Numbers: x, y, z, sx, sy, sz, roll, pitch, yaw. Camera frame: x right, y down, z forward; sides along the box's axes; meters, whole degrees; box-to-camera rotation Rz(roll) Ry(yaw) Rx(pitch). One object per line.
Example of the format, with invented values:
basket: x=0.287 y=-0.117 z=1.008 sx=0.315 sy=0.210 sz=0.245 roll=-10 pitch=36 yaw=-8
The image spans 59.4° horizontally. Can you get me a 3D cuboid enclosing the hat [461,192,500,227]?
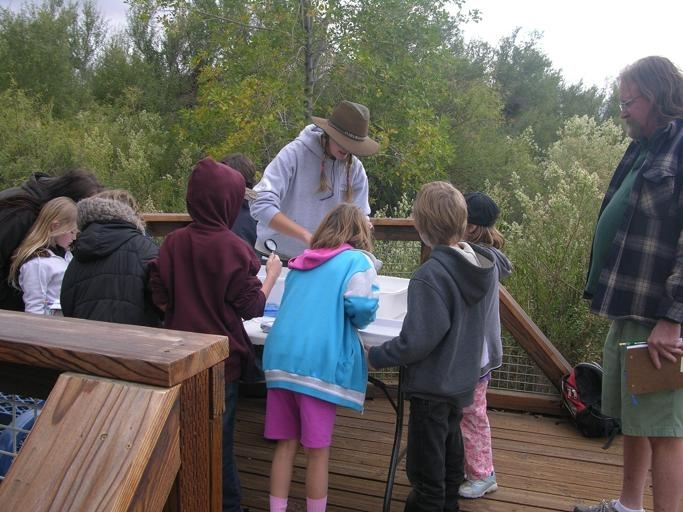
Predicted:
hat: x=0.779 y=-0.255 z=3.317 sx=0.138 sy=0.130 sz=0.208 roll=23 pitch=5 yaw=2

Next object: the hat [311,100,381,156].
hat: x=0.046 y=-0.755 z=3.539 sx=0.342 sy=0.185 sz=0.329 roll=47 pitch=34 yaw=19

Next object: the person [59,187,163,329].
person: x=-1.188 y=0.127 z=3.196 sx=0.428 sy=1.078 sz=0.359 roll=9 pitch=28 yaw=-6

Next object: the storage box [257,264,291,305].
storage box: x=-0.385 y=0.183 z=3.574 sx=0.253 sy=0.226 sz=0.192 roll=3 pitch=4 yaw=9

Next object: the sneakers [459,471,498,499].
sneakers: x=0.792 y=1.341 z=3.518 sx=0.255 sy=0.145 sz=0.107 roll=2 pitch=-3 yaw=-34
